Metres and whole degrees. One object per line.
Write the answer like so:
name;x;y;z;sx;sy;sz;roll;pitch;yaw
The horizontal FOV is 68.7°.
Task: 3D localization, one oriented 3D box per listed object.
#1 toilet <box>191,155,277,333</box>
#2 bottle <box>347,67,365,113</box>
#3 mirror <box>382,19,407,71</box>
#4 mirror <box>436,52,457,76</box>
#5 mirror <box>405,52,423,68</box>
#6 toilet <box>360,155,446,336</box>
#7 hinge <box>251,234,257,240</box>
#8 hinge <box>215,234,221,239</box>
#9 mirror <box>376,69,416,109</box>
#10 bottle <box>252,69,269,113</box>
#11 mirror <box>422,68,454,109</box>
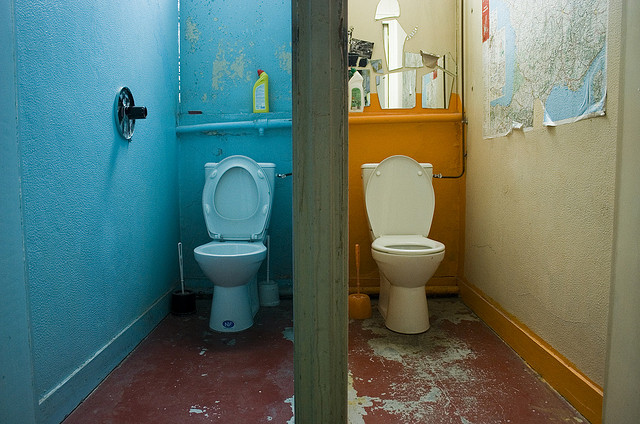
toilet;-0.531;0.177;3.113;0.536;1.066;0.732;-4;13;-7
bottle;0.273;-0.901;3.455;0.110;0.326;0.058;-2;12;2
mirror;0.545;-1.227;3.431;0.171;0.357;0.052;0;13;9
mirror;0.936;-1.096;3.474;0.136;0.095;0.153;11;12;2
mirror;0.692;-1.125;3.434;0.108;0.078;0.014;1;14;3
toilet;0.534;0.174;3.084;0.501;1.051;0.701;-1;12;6
hinge;-0.443;0.164;3.142;0.039;0.032;0.010;-5;13;-12
hinge;-0.690;0.165;3.161;0.043;0.043;0.023;3;7;10
mirror;0.559;-0.908;3.460;0.336;0.275;0.016;7;17;39
bottle;-0.437;-0.883;3.420;0.120;0.305;0.081;-6;13;-16
mirror;0.857;-0.906;3.449;0.263;0.294;0.014;-8;17;-10
